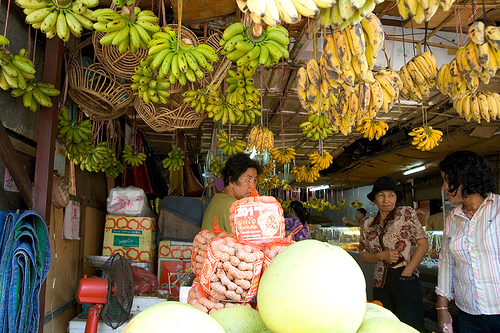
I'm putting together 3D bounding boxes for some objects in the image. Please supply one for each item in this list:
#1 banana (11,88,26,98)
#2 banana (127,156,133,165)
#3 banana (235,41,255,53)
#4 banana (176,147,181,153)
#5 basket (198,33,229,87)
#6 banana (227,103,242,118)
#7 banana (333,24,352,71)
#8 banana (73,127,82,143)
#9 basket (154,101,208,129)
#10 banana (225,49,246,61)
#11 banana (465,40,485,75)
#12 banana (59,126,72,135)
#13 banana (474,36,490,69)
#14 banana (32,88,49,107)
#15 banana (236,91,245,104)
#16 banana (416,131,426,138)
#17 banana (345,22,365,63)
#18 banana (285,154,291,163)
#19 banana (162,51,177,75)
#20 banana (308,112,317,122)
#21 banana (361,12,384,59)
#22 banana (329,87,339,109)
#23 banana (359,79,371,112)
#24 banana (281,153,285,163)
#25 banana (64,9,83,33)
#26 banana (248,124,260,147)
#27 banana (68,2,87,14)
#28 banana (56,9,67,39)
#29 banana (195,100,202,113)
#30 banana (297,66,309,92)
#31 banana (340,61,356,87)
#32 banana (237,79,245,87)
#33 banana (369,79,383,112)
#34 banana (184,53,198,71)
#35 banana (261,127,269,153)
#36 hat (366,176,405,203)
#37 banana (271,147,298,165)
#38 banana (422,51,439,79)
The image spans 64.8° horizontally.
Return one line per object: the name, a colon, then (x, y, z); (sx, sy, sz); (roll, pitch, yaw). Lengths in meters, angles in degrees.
banana: (-1.762, -0.570, 3.003); (0.085, 0.056, 0.094); (5, -7, -6)
banana: (-1.497, -0.081, 4.910); (0.030, 0.121, 0.026); (11, 25, -45)
banana: (-0.039, -0.872, 2.855); (0.051, 0.115, 0.162); (27, 33, 36)
banana: (-0.968, -0.230, 5.311); (0.069, 0.101, 0.030); (-7, 8, -11)
basket: (-0.295, -0.954, 3.446); (0.090, 0.493, 0.354); (16, 18, 34)
banana: (-0.135, -0.515, 3.631); (0.045, 0.177, 0.049); (-44, 10, 8)
banana: (0.586, -0.746, 2.521); (0.083, 0.332, 0.082); (-24, -20, 35)
banana: (-1.616, -0.295, 3.703); (0.042, 0.140, 0.036); (-6, 15, 36)
basket: (-0.606, -0.451, 3.450); (0.439, 0.232, 0.185); (5, -6, -9)
banana: (-0.101, -0.821, 2.899); (0.146, 0.071, 0.074); (10, -9, -39)
banana: (1.629, -0.790, 2.884); (0.095, 0.311, 0.076); (-26, 10, -41)
banana: (-1.716, -0.343, 3.655); (0.102, 0.085, 0.043); (3, -6, 9)
banana: (1.642, -0.792, 2.777); (0.079, 0.244, 0.060); (-2, -7, -20)
banana: (-1.643, -0.541, 3.091); (0.050, 0.175, 0.060); (-28, 17, 12)
banana: (-0.087, -0.614, 3.482); (0.049, 0.099, 0.030); (-13, 20, 24)
banana: (1.934, -0.371, 4.471); (0.095, 0.055, 0.026); (-39, -18, 20)
banana: (0.652, -0.780, 2.454); (0.122, 0.262, 0.067); (4, -5, -2)
banana: (0.459, -0.101, 4.764); (0.019, 0.113, 0.031); (-2, 24, 42)
banana: (-0.595, -0.761, 2.871); (0.063, 0.198, 0.048); (26, -3, -36)
banana: (0.664, -0.525, 4.189); (0.044, 0.042, 0.098); (-38, -5, -40)
banana: (0.763, -0.822, 2.468); (0.062, 0.285, 0.169); (-5, -27, -11)
banana: (0.590, -0.485, 2.762); (0.044, 0.139, 0.043); (-21, -1, 17)
banana: (0.773, -0.484, 2.675); (0.068, 0.234, 0.063); (-5, 0, 33)
banana: (0.400, -0.098, 4.758); (0.022, 0.090, 0.016); (5, 16, 36)
banana: (-1.211, -0.991, 2.696); (0.120, 0.158, 0.092); (8, -7, -32)
banana: (0.039, -0.351, 4.062); (0.088, 0.284, 0.067); (13, 7, 12)
banana: (-1.170, -1.079, 2.688); (0.124, 0.065, 0.037); (3, -6, 14)
banana: (-1.284, -0.961, 2.684); (0.055, 0.205, 0.065); (-4, -1, 9)
banana: (-0.448, -0.526, 3.383); (0.065, 0.097, 0.023); (6, 3, -9)
banana: (0.376, -0.627, 2.820); (0.077, 0.172, 0.052); (8, -11, -42)
banana: (0.644, -0.577, 2.547); (0.054, 0.195, 0.064); (-38, 17, -29)
banana: (-0.078, -0.720, 3.386); (0.064, 0.047, 0.067); (5, -7, -7)
banana: (0.895, -0.489, 2.795); (0.071, 0.250, 0.067); (-5, 6, -14)
banana: (-0.417, -0.754, 2.817); (0.047, 0.162, 0.050); (-26, -1, -35)
banana: (0.152, -0.276, 3.983); (0.042, 0.181, 0.108); (-1, 5, 31)
hat: (1.431, 0.219, 4.190); (0.296, 0.195, 0.340); (-2, -21, 11)
banana: (0.413, -0.149, 4.843); (0.210, 0.218, 0.070); (34, 12, -2)
banana: (1.510, -0.868, 3.329); (0.122, 0.232, 0.066); (-30, -5, 36)
